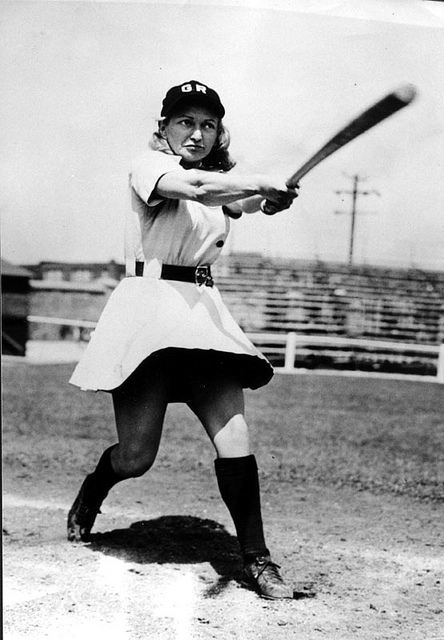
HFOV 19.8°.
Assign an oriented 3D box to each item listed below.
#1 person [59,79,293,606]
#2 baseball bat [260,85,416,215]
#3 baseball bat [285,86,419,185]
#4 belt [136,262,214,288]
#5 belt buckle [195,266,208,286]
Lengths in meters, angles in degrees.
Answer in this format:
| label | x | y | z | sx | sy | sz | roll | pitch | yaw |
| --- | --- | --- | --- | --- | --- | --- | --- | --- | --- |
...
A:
| label | x | y | z | sx | sy | sz | roll | pitch | yaw |
| --- | --- | --- | --- | --- | --- | --- | --- | --- | --- |
| person | -0.076 | 0.032 | 3.648 | 0.796 | 1.464 | 0.650 | 5 | 0 | 32 |
| baseball bat | 0.273 | -0.420 | 3.137 | 0.095 | 0.085 | 0.585 | -11 | -14 | -30 |
| baseball bat | 0.273 | -0.395 | 3.172 | 0.071 | 0.115 | 0.682 | -40 | 4 | -22 |
| belt | -0.091 | -0.126 | 3.543 | 0.160 | 0.066 | 0.038 | 6 | -1 | -32 |
| belt buckle | -0.059 | -0.119 | 3.545 | 0.033 | 0.050 | 0.018 | 2 | 7 | -9 |
